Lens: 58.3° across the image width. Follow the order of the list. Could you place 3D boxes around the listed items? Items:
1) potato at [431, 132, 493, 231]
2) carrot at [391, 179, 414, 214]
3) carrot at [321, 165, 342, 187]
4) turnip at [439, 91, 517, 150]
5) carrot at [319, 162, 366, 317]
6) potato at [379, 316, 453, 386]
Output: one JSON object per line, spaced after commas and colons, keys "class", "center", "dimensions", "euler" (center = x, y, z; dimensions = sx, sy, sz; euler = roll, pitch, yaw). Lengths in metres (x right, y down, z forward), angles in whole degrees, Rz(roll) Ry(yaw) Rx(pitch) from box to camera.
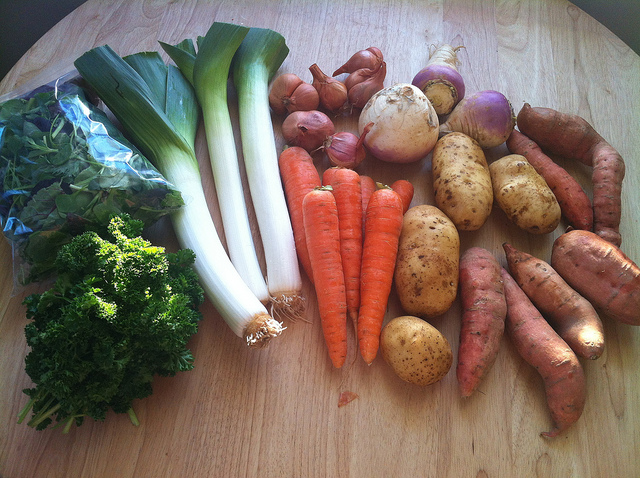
{"class": "potato", "center": [0.478, -0.194, 2.003], "dimensions": [0.145, 0.152, 0.356], "euler": [5, 53, -9]}
{"class": "carrot", "center": [0.292, -0.154, 2.012], "dimensions": [0.053, 0.058, 0.121], "euler": [16, 70, 20]}
{"class": "carrot", "center": [0.043, -0.217, 1.999], "dimensions": [0.060, 0.083, 0.062], "euler": [8, 12, 42]}
{"class": "turnip", "center": [0.573, -0.428, 2.065], "dimensions": [0.167, 0.231, 0.189], "euler": [-9, 23, -17]}
{"class": "carrot", "center": [0.075, -0.021, 1.895], "dimensions": [0.107, 0.122, 0.552], "euler": [-3, 79, 1]}
{"class": "potato", "center": [0.285, 0.332, 1.739], "dimensions": [0.227, 0.100, 0.159], "euler": [37, 64, 21]}
